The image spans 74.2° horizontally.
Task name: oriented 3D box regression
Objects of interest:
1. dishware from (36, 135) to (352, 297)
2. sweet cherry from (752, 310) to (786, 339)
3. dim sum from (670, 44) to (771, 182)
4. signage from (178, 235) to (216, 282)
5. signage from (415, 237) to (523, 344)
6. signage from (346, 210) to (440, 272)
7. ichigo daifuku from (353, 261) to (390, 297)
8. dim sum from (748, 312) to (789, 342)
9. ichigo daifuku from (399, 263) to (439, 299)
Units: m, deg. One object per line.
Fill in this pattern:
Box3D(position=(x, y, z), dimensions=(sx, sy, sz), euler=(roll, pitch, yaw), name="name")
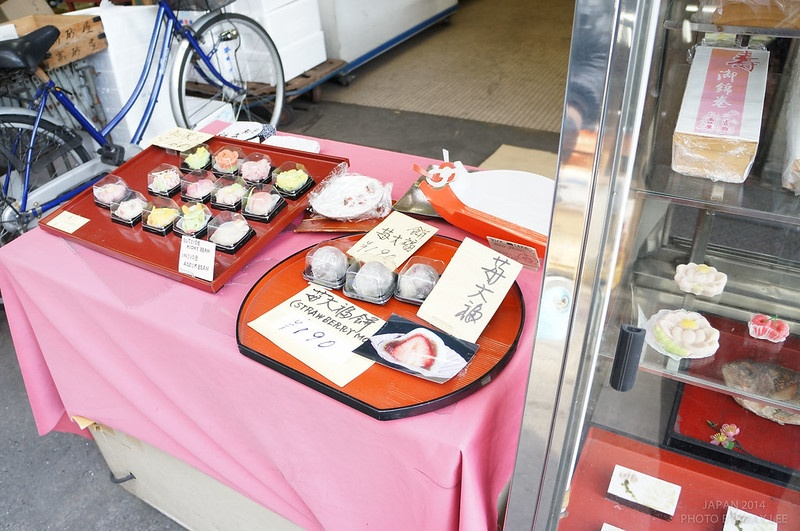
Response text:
Box3D(position=(-0.742, -0.331, 1.795), dimensions=(0.705, 0.056, 0.659), euler=(17, 40, 22), name="dishware")
Box3D(position=(0.828, 0.127, 1.197), dimensions=(0.052, 0.032, 0.064), euler=(-4, 23, -8), name="sweet cherry")
Box3D(position=(0.718, -0.350, 1.178), dimensions=(0.186, 0.123, 0.346), euler=(11, 60, 20), name="dim sum")
Box3D(position=(-0.581, -0.023, 1.532), dimensions=(0.124, 0.109, 0.010), euler=(12, 6, 19), name="signage")
Box3D(position=(0.186, 0.073, 1.389), dimensions=(0.181, 0.061, 0.265), euler=(26, 58, 22), name="signage")
Box3D(position=(-0.021, -0.068, 1.546), dimensions=(0.151, 0.023, 0.215), euler=(28, 50, 28), name="signage")
Box3D(position=(-0.073, 0.038, 1.408), dimensions=(0.087, 0.056, 0.088), euler=(20, 40, 22), name="ichigo daifuku")
Box3D(position=(0.827, 0.142, 1.197), dimensions=(0.072, 0.040, 0.060), euler=(18, 35, 35), name="dim sum")
Box3D(position=(0.056, 0.043, 1.403), dimensions=(0.085, 0.048, 0.105), euler=(24, 47, 25), name="ichigo daifuku")
